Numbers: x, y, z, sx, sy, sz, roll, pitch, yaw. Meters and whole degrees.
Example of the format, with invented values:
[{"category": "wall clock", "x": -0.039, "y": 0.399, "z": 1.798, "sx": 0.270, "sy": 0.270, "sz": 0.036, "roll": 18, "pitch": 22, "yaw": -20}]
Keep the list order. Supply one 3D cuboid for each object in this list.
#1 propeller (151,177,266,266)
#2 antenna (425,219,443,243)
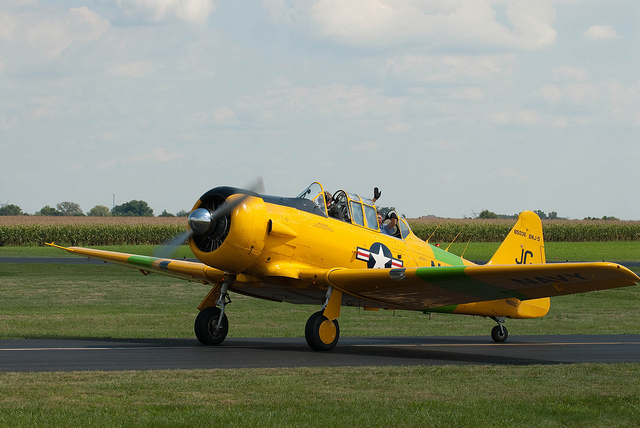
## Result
[{"category": "propeller", "x": -2.760, "y": 0.083, "z": 17.823, "sx": 1.306, "sy": 1.735, "sz": 3.067, "roll": 9, "pitch": -8, "yaw": -33}, {"category": "antenna", "x": 10.711, "y": 1.607, "z": 73.145, "sx": 0.193, "sy": 0.234, "sz": 7.491, "roll": -25, "pitch": 3, "yaw": 30}]
